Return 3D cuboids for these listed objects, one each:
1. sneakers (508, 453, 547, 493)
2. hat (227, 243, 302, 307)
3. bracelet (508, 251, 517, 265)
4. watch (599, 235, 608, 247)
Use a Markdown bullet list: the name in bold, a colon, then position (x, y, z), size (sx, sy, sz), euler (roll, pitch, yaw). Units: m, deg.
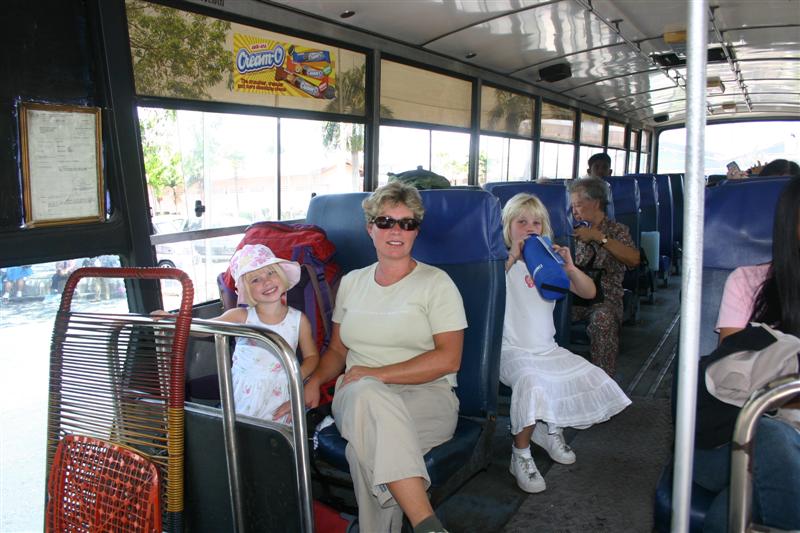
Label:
- **sneakers**: position (0.792, 1.304, 3.544), size (0.126, 0.127, 0.325), euler (-12, -6, -12)
- **hat**: position (-0.796, 0.032, 3.263), size (0.315, 0.172, 0.412), euler (-28, -21, -11)
- **bracelet**: position (0.753, -0.059, 3.750), size (0.076, 0.073, 0.058), euler (-26, -6, 7)
- **watch**: position (1.827, -0.226, 5.012), size (0.084, 0.081, 0.023), euler (-14, -28, 35)
